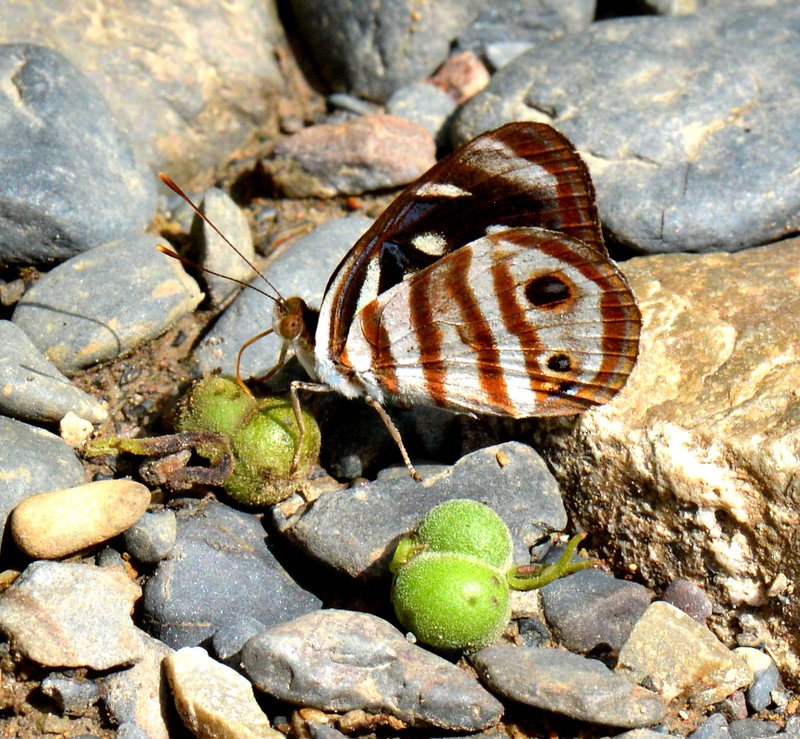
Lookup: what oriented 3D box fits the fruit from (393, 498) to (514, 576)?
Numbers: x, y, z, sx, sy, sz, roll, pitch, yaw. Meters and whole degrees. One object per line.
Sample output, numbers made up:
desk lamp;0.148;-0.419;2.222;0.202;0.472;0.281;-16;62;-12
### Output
fruit;0.288;0.858;5.738;0.454;0.372;0.301;-10;58;10
